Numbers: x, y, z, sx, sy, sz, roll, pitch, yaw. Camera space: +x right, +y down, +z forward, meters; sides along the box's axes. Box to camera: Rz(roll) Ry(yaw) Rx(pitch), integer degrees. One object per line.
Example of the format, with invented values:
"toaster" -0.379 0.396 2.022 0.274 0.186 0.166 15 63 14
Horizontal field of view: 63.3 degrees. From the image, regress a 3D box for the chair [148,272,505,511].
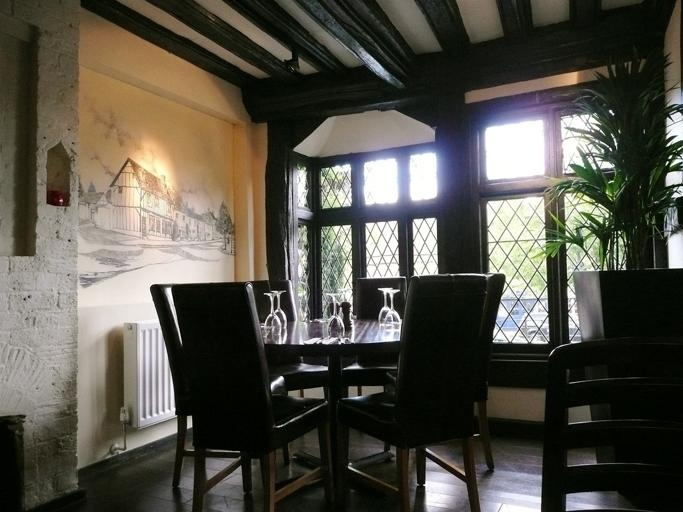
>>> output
"chair" -0.018 0.882 3.375 1.822 1.304 0.727 -3 -1 11
